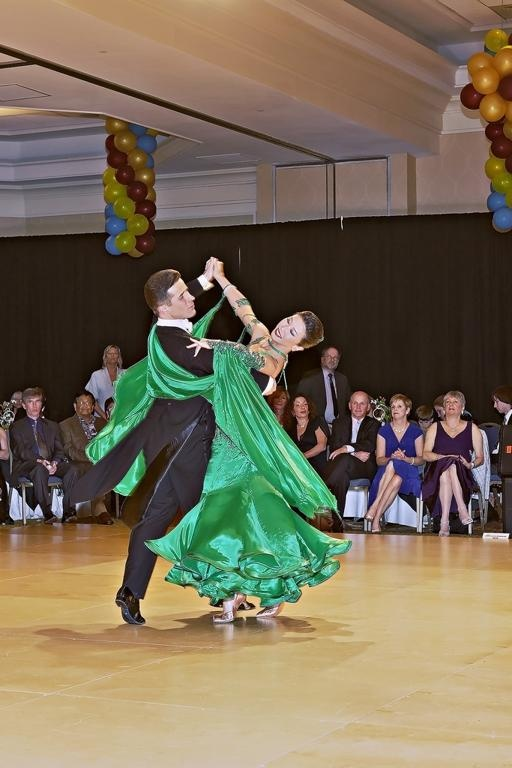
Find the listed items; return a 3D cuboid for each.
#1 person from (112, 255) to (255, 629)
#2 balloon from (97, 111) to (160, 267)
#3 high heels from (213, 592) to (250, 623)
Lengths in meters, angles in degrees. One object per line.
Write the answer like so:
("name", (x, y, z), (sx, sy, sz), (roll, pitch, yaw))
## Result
("person", (-0.327, 0.259, 3.018), (0.672, 1.703, 0.492), (-1, 3, -12))
("balloon", (-1.596, -2.461, 8.149), (0.658, 1.645, 0.443), (0, 3, -2))
("high heels", (-0.103, 1.046, 3.096), (0.097, 0.103, 0.288), (-5, -6, 25))
